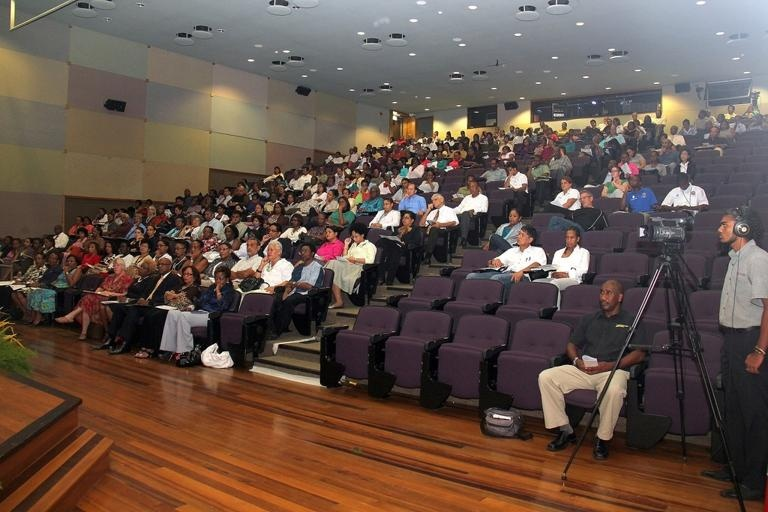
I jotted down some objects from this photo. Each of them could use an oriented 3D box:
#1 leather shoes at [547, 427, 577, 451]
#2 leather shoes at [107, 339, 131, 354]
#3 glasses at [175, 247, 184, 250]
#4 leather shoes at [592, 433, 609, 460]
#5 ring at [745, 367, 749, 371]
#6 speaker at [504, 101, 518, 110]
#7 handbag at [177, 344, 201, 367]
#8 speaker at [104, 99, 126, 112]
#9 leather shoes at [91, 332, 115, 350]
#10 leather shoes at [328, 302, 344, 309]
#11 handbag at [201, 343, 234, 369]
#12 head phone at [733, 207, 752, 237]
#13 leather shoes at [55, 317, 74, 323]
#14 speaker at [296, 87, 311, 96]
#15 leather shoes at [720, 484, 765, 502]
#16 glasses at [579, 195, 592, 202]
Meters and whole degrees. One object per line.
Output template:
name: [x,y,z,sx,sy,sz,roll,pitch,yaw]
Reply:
leather shoes: [1.540,1.588,4.325,0.353,0.149,0.134,-7,1,-37]
leather shoes: [-3.793,1.313,7.022,0.142,0.154,0.401,5,-11,-6]
glasses: [-3.300,-0.119,7.883,0.066,0.043,0.081,-1,-2,13]
leather shoes: [1.803,1.622,4.108,0.094,0.090,0.234,-5,0,18]
ring: [2.673,0.843,3.626,0.009,0.028,0.040,2,6,18]
speaker: [4.775,-5.694,18.611,0.475,0.250,0.333,-2,2,32]
handbag: [-2.577,1.327,6.490,0.273,0.231,0.203,-4,8,-26]
speaker: [-7.334,-4.124,13.362,0.604,0.332,0.348,-11,22,-43]
leather shoes: [-4.194,1.321,7.462,0.216,0.252,0.621,2,-8,2]
leather shoes: [-0.700,0.726,7.034,0.201,0.068,0.070,3,-5,-17]
handbag: [-2.183,1.311,6.435,0.367,0.165,0.282,6,-1,14]
head phone: [2.773,-0.255,3.809,0.089,0.201,0.219,-4,-7,26]
leather shoes: [-5.321,1.077,8.188,0.322,0.092,0.121,8,-16,-26]
speaker: [-2.812,-5.787,17.242,0.671,0.312,0.223,-4,7,-39]
leather shoes: [2.582,1.708,3.551,0.314,0.093,0.091,1,5,1]
glasses: [3.174,-0.889,7.723,0.101,0.069,0.131,-8,-15,40]
